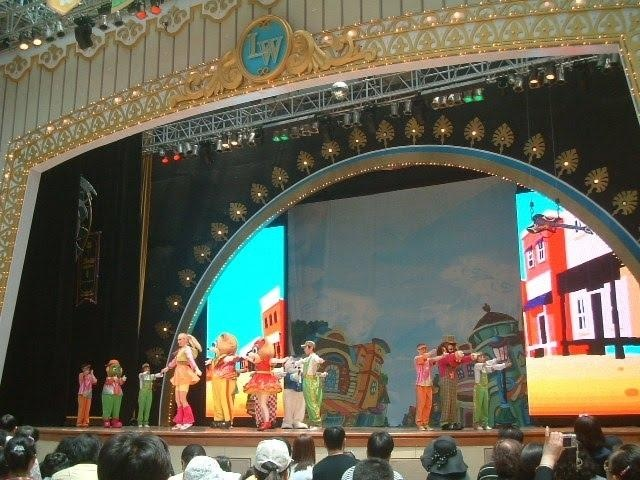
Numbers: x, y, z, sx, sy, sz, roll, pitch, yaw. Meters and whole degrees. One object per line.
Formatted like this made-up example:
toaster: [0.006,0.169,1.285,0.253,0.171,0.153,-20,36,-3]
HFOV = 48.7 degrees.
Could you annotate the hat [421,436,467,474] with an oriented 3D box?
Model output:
hat: [1.131,1.973,6.501,0.366,0.346,0.347,-1,-16,-1]

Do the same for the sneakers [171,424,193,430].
sneakers: [-2.051,2.754,10.487,0.301,0.087,0.123,3,-12,-1]

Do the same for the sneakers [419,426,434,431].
sneakers: [1.558,2.758,10.414,0.232,0.108,0.081,-8,-9,33]

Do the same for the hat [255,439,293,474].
hat: [-0.372,1.731,5.661,0.290,0.433,0.143,5,-55,-2]
